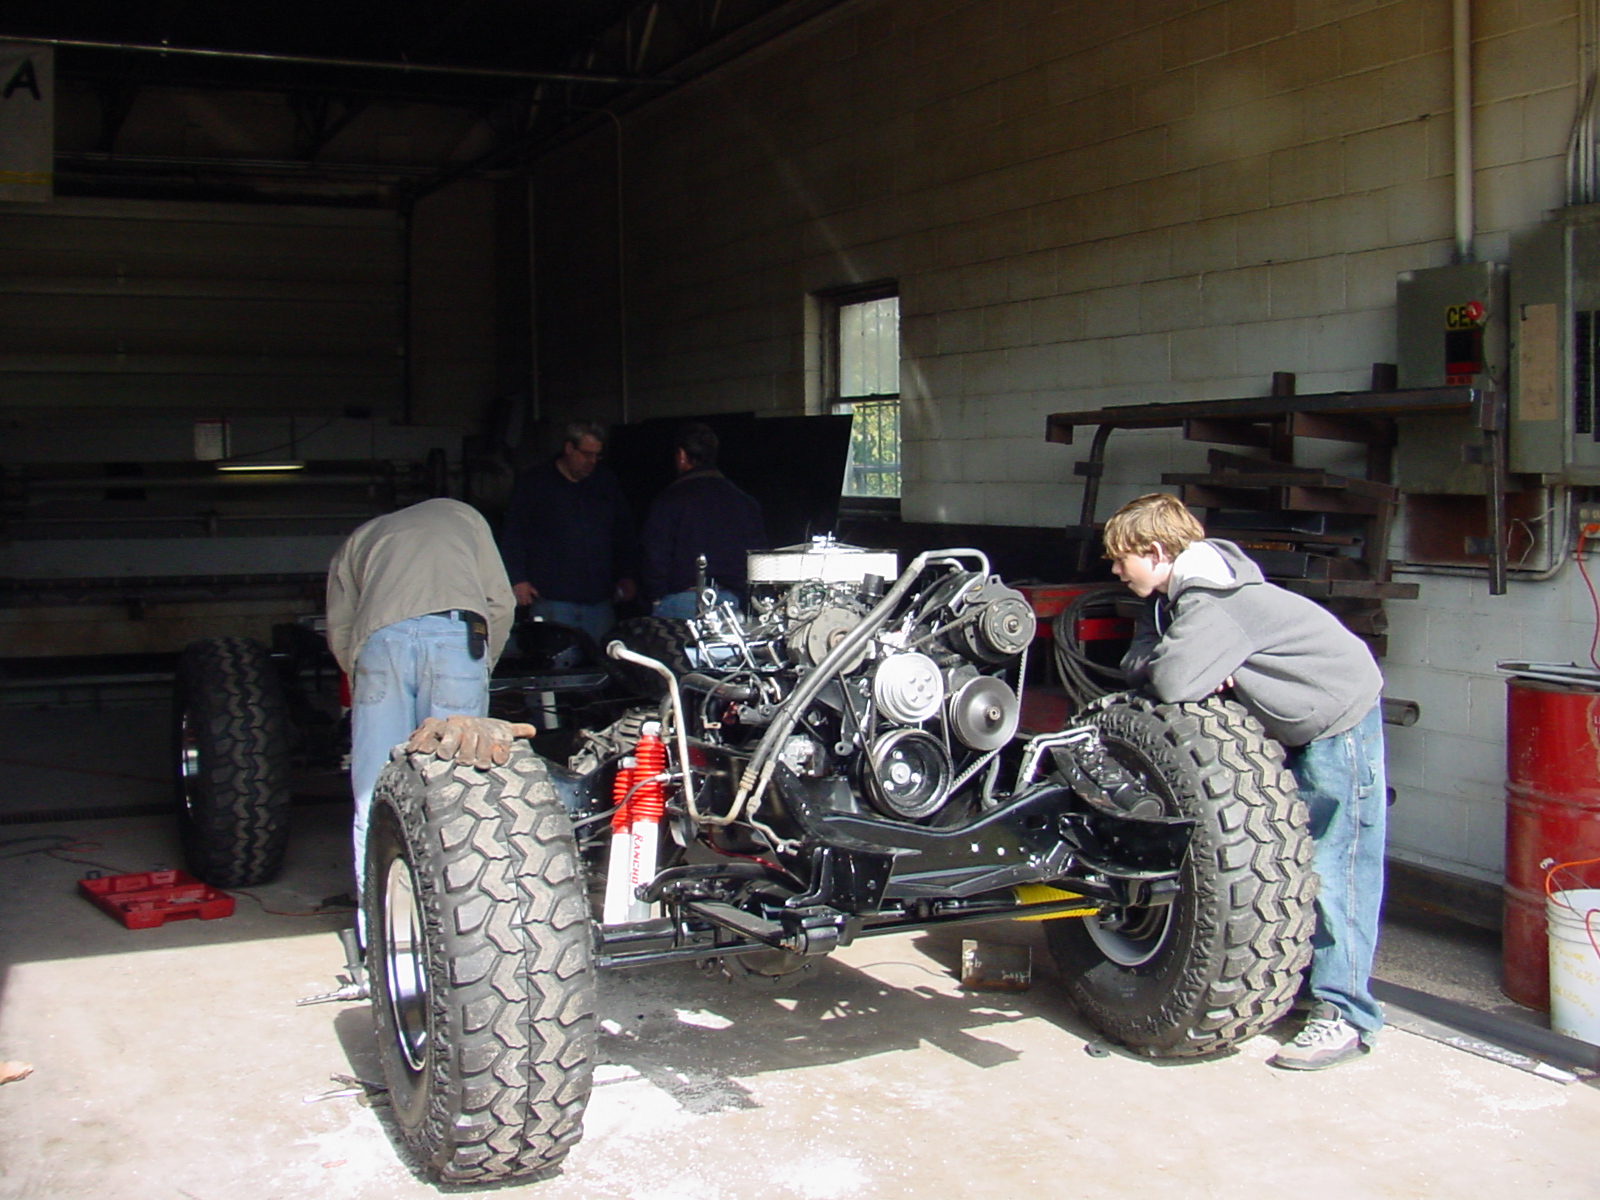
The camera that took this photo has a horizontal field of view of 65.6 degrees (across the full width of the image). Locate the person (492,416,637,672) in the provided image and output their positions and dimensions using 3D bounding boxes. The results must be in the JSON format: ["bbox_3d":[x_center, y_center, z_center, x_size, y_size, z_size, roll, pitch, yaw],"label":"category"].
[{"bbox_3d":[-1.281,-0.389,6.742,0.682,1.126,0.396,-3,6,-14],"label":"person"}]

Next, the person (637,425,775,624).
[{"bbox_3d":[-0.497,-0.435,6.191,0.607,0.854,0.378,-2,6,-12],"label":"person"}]

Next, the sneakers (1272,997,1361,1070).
[{"bbox_3d":[1.563,1.267,3.654,0.345,0.146,0.123,7,-9,-36],"label":"sneakers"}]

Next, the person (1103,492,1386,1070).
[{"bbox_3d":[1.319,0.512,3.623,0.766,1.633,0.360,0,6,13],"label":"person"}]

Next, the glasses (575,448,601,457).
[{"bbox_3d":[-1.115,-0.787,6.641,0.074,0.040,0.129,1,6,22],"label":"glasses"}]

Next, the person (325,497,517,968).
[{"bbox_3d":[-1.273,0.270,4.227,0.609,1.208,0.545,-3,7,-20],"label":"person"}]
